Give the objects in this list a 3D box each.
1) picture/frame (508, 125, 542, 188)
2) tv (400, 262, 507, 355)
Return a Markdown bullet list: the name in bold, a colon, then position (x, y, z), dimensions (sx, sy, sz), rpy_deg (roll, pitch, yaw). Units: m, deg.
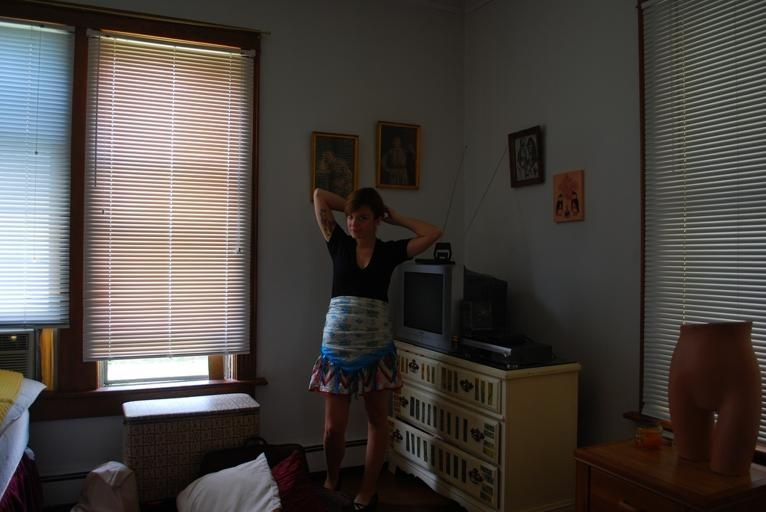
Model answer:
- **picture/frame**: position (1.024, -0.707, 4.014), dimensions (0.033, 0.407, 0.292), rpy_deg (-6, 3, -32)
- **tv**: position (0.557, 0.343, 4.056), dimensions (0.903, 0.606, 0.928), rpy_deg (1, 0, 17)
